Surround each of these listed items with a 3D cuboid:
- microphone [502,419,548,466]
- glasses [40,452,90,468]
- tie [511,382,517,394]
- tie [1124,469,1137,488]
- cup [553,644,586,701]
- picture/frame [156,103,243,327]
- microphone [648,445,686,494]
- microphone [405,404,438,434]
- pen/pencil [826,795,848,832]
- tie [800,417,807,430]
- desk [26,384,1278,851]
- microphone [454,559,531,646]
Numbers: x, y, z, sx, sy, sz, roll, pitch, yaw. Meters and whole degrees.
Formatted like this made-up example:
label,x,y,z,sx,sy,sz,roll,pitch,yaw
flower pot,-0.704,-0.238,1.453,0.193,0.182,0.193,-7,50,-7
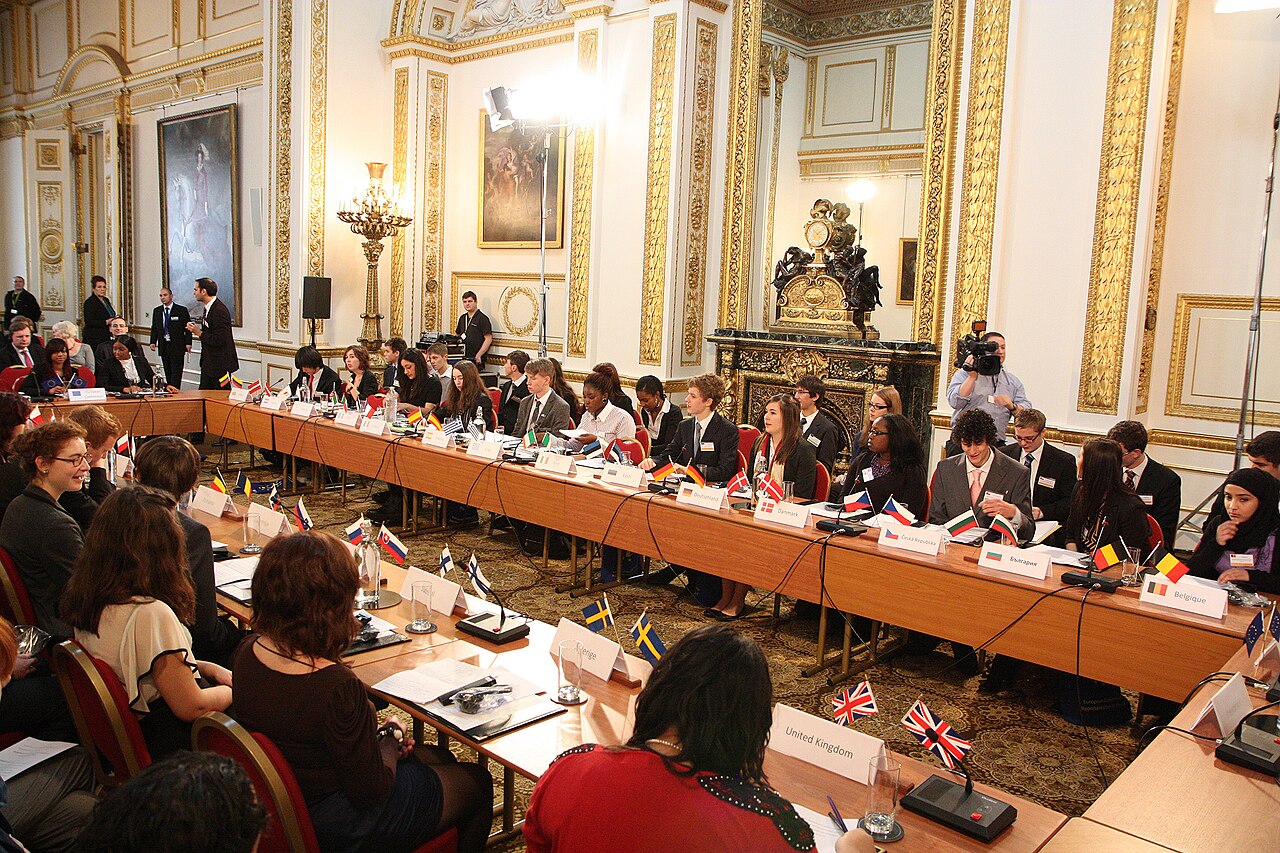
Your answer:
label,x,y,z,sx,sy,sz,roll,pitch,yaw
microphone,-0.801,0.110,6.569,0.263,0.153,0.442,-1,5,-9
glasses,-2.512,0.140,4.053,0.048,0.072,0.167,11,15,36
tie,-1.048,-0.337,7.829,0.052,0.081,0.072,1,-3,-4
tie,2.953,0.304,5.539,0.075,0.114,0.046,-11,-2,-13
cup,-0.259,0.936,3.475,0.116,0.137,0.128,1,11,0
picture/frame,-5.592,-2.782,11.809,0.141,3.607,2.893,-6,9,-41
microphone,0.159,0.262,5.734,0.231,0.293,0.198,0,-6,0
microphone,-1.697,-0.077,7.192,0.178,0.222,0.496,0,5,-26
pen/pencil,0.618,1.212,2.878,0.014,0.106,0.015,-28,-21,10
tie,1.164,-0.029,6.434,0.069,0.025,0.072,-20,32,47
desk,-0.206,0.545,5.670,6.645,0.620,0.383,11,15,34
microphone,-0.610,0.692,3.886,0.268,0.382,0.287,-10,9,-42
